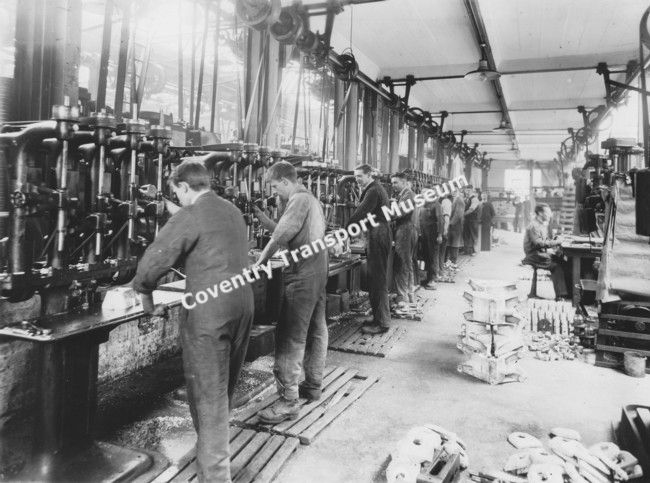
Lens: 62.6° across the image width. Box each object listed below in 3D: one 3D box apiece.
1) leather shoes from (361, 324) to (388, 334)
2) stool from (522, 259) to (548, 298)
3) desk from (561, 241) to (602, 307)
[{"bbox_3d":[0.708,1.241,7.547,0.357,0.181,0.142,5,-3,-1],"label":"leather shoes"},{"bbox_3d":[3.922,0.736,10.115,0.612,0.794,0.621,1,1,10],"label":"stool"},{"bbox_3d":[4.154,0.504,8.760,0.820,0.944,0.903,0,2,17],"label":"desk"}]
